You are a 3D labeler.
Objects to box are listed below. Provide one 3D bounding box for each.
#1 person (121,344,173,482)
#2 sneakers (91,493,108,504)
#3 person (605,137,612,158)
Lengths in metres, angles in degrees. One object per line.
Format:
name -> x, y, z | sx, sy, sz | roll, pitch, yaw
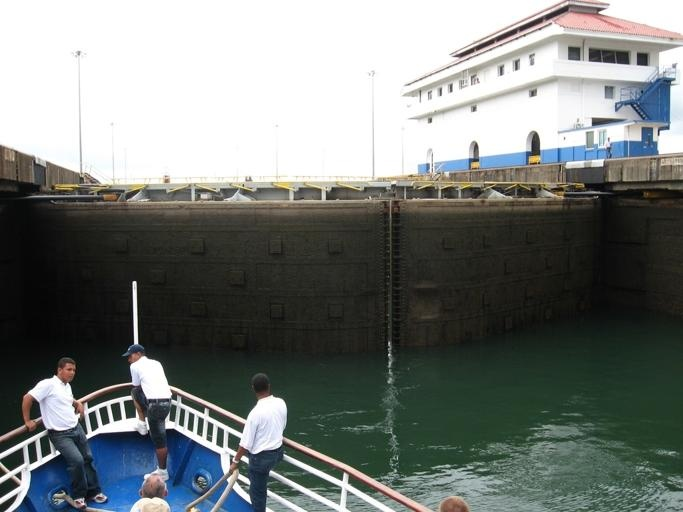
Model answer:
person -> -4.578, 3.770, 17.669 | 1.061, 3.345, 0.626 | 3, 8, 40
sneakers -> -5.584, 5.606, 17.057 | 0.376, 0.142, 0.182 | 0, 16, -5
person -> 14.748, -6.087, 40.900 | 0.317, 1.128, 1.116 | 0, 7, 20
